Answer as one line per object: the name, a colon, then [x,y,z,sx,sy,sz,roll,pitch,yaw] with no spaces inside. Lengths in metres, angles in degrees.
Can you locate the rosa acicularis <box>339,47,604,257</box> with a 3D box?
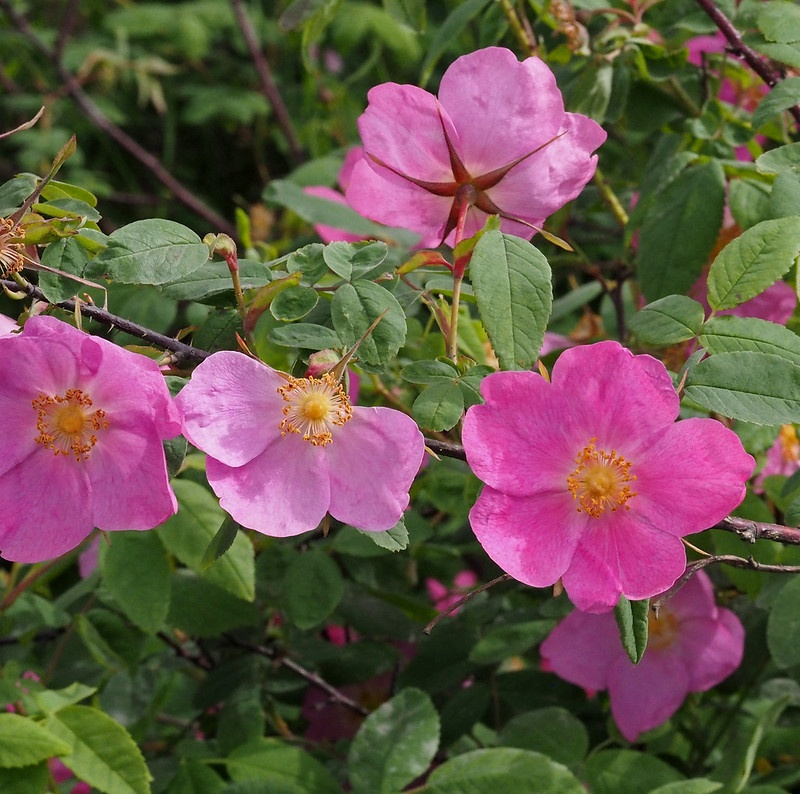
rosa acicularis: [0.086,-0.219,1.036,0.213,0.252,0.191,-36,59,-18]

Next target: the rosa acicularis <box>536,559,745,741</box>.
rosa acicularis: [0.291,0.302,1.156,0.228,0.067,0.183,-17,41,26]

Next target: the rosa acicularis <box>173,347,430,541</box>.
rosa acicularis: [-0.089,0.041,0.908,0.220,0.114,0.151,0,53,5]

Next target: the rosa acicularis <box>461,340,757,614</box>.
rosa acicularis: [0.189,0.076,0.899,0.093,0.235,0.203,-14,70,-26]
